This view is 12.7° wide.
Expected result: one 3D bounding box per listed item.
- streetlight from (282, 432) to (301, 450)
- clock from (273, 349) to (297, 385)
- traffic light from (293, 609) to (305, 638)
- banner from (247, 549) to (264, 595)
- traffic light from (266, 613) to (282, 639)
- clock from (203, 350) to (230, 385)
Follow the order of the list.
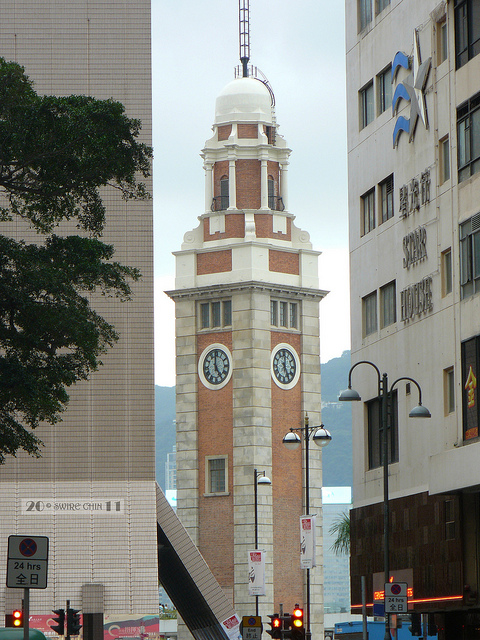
[{"bbox_3d":[1.714,3.962,69.656,0.456,0.722,0.562,2,-5,9],"label":"streetlight"},{"bbox_3d":[2.265,2.495,108.507,0.083,1.710,1.326,-5,-1,25],"label":"clock"},{"bbox_3d":[1.765,8.977,63.718,0.326,1.037,1.177,-1,-16,2],"label":"traffic light"},{"bbox_3d":[0.666,9.372,79.572,0.728,2.171,0.176,0,-44,-1],"label":"banner"},{"bbox_3d":[1.043,9.524,66.791,0.436,0.877,0.544,0,-6,4],"label":"traffic light"},{"bbox_3d":[-1.045,2.520,107.436,0.133,1.628,1.219,11,-5,-35],"label":"clock"}]
